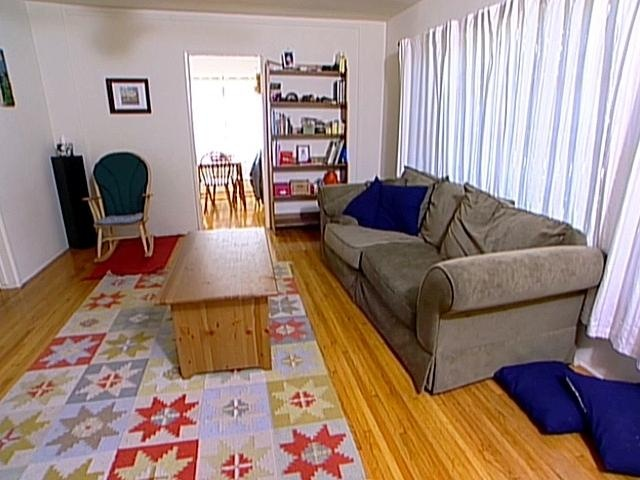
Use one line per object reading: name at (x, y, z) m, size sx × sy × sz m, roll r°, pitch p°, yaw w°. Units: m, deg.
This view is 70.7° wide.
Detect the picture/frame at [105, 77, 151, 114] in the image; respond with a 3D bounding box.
picture/frame at (-2.232, -1.671, 5.182) m, size 0.363 × 0.356 × 0.032 m, roll -4°, pitch 19°, yaw -10°

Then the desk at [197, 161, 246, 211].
desk at (-1.590, -0.857, 7.232) m, size 0.666 × 1.113 × 0.794 m, roll 0°, pitch 44°, yaw -7°

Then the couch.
couch at (1.035, 0.367, 3.223) m, size 0.624 × 0.627 × 1.343 m, roll -6°, pitch 22°, yaw -14°

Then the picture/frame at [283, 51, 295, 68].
picture/frame at (-0.380, -2.146, 5.397) m, size 0.166 × 0.234 × 0.126 m, roll 5°, pitch 37°, yaw -3°
